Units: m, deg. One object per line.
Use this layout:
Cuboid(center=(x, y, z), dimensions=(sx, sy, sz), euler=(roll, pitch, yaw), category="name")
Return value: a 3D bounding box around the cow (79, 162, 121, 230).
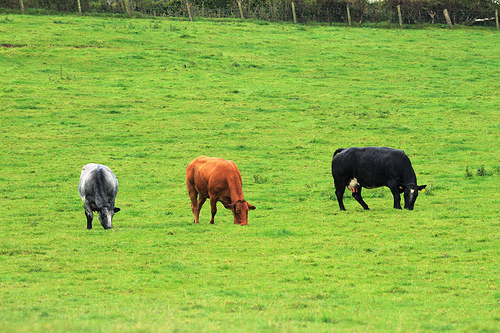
Cuboid(center=(-9.394, 1.941, 58.980), dimensions=(2.474, 3.862, 2.168), euler=(-2, 6, 11), category="cow")
